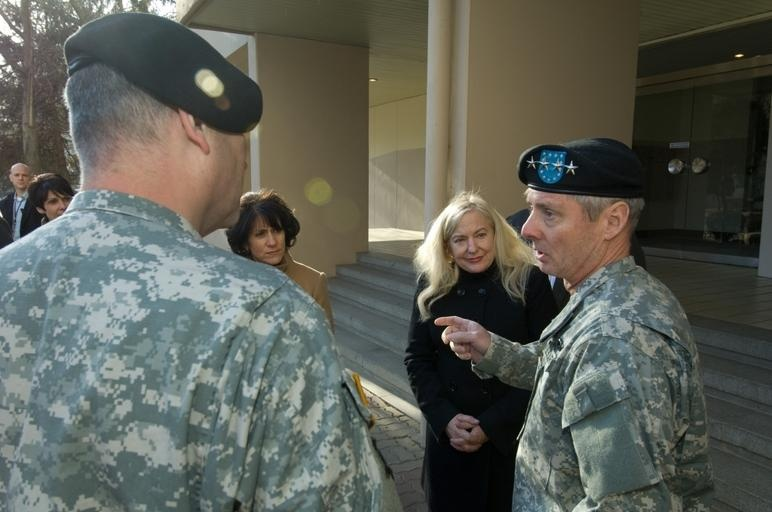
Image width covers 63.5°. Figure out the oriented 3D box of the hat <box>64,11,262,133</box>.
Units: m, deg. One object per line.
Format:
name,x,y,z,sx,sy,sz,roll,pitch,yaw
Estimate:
hat,-0.577,-0.534,1.648,0.414,0.179,0.326,22,11,-23
